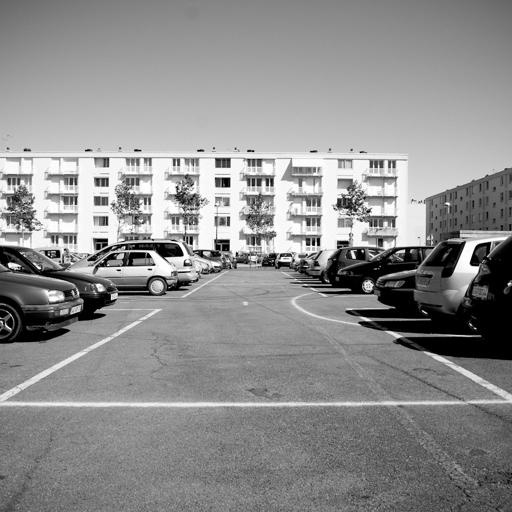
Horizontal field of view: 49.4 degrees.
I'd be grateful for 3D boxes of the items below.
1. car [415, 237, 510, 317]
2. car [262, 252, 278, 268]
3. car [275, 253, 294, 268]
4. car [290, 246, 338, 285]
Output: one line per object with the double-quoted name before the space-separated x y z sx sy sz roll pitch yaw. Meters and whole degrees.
"car" 3.494 0.296 8.955 1.566 0.866 0.934 -3 2 -4
"car" 1.354 0.439 54.029 1.285 0.899 1.834 1 1 4
"car" 2.477 0.442 48.490 1.036 0.999 2.012 0 5 1
"car" 2.680 0.365 24.478 1.751 0.851 0.869 -2 3 -3
